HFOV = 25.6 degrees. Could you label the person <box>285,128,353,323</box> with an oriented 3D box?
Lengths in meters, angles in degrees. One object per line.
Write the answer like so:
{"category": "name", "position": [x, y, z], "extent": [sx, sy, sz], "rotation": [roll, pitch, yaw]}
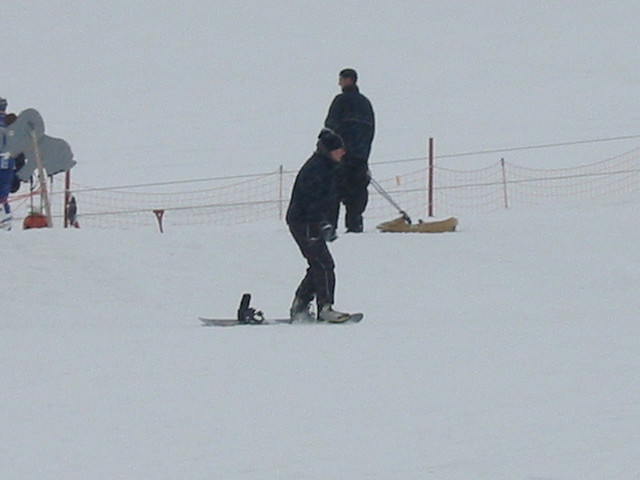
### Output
{"category": "person", "position": [-0.011, -0.111, 12.203], "extent": [0.561, 1.667, 0.300], "rotation": [0, 1, -2]}

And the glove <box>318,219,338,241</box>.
{"category": "glove", "position": [0.061, -0.074, 12.083], "extent": [0.118, 0.192, 0.051], "rotation": [-19, -1, -2]}

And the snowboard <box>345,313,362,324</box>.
{"category": "snowboard", "position": [0.293, 0.691, 12.159], "extent": [0.148, 0.089, 0.130], "rotation": [0, 1, -6]}

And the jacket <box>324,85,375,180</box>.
{"category": "jacket", "position": [0.303, -1.065, 14.065], "extent": [0.481, 0.934, 0.363], "rotation": [0, 1, -3]}

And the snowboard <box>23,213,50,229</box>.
{"category": "snowboard", "position": [-3.430, -0.220, 17.169], "extent": [0.199, 0.180, 0.366], "rotation": [0, 1, 28]}

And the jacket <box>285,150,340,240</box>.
{"category": "jacket", "position": [-0.066, -0.376, 12.249], "extent": [0.452, 0.758, 0.320], "rotation": [0, 1, -2]}

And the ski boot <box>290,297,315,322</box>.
{"category": "ski boot", "position": [-0.151, 0.615, 12.303], "extent": [0.207, 0.212, 0.059], "rotation": [0, 1, -10]}

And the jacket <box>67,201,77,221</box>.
{"category": "jacket", "position": [-3.303, -0.368, 18.747], "extent": [0.135, 0.257, 0.139], "rotation": [0, 1, -21]}
